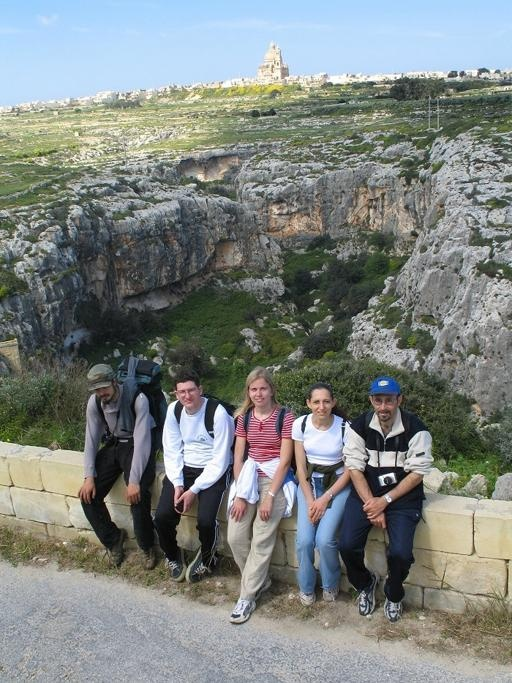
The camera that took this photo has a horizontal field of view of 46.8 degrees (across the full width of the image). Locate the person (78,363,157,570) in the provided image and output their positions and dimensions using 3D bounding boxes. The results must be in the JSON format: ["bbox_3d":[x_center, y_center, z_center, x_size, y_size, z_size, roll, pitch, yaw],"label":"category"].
[{"bbox_3d":[-1.259,1.097,5.332,0.652,1.814,0.483,-4,11,16],"label":"person"}]

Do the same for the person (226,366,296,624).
[{"bbox_3d":[0.040,1.148,4.856,0.637,1.698,1.137,-6,10,4],"label":"person"}]

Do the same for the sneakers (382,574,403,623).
[{"bbox_3d":[0.999,1.875,4.306,0.114,0.305,0.135,1,-5,11],"label":"sneakers"}]

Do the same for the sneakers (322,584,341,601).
[{"bbox_3d":[0.584,1.938,4.590,0.145,0.119,0.108,-7,10,-8],"label":"sneakers"}]

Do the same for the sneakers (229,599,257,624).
[{"bbox_3d":[-0.114,2.031,4.440,0.086,0.083,0.223,-1,-4,17],"label":"sneakers"}]

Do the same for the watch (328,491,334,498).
[{"bbox_3d":[0.597,1.220,4.711,0.027,0.054,0.049,3,14,42],"label":"watch"}]

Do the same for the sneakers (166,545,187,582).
[{"bbox_3d":[-0.690,1.919,5.105,0.143,0.104,0.314,7,34,-30],"label":"sneakers"}]

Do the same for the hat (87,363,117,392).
[{"bbox_3d":[-1.354,0.331,5.220,0.234,0.255,0.268,-9,10,-14],"label":"hat"}]

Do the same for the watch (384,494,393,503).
[{"bbox_3d":[0.992,1.172,4.418,0.043,0.017,0.073,-10,41,-2],"label":"watch"}]

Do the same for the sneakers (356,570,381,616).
[{"bbox_3d":[0.851,1.888,4.430,0.103,0.287,0.139,-5,-26,43],"label":"sneakers"}]

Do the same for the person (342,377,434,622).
[{"bbox_3d":[0.976,1.144,4.488,0.714,1.654,0.815,-4,11,16],"label":"person"}]

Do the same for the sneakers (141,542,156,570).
[{"bbox_3d":[-0.946,1.914,5.253,0.085,0.095,0.234,-3,20,-4],"label":"sneakers"}]

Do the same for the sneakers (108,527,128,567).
[{"bbox_3d":[-1.256,1.893,5.435,0.139,0.295,0.107,12,-15,-29],"label":"sneakers"}]

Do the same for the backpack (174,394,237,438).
[{"bbox_3d":[-0.430,0.641,5.342,0.379,0.360,0.409,10,26,37],"label":"backpack"}]

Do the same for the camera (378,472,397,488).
[{"bbox_3d":[1.020,1.063,4.618,0.175,0.118,0.105,-12,-10,24],"label":"camera"}]

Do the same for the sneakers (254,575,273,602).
[{"bbox_3d":[0.063,1.984,4.739,0.069,0.089,0.187,17,63,25],"label":"sneakers"}]
